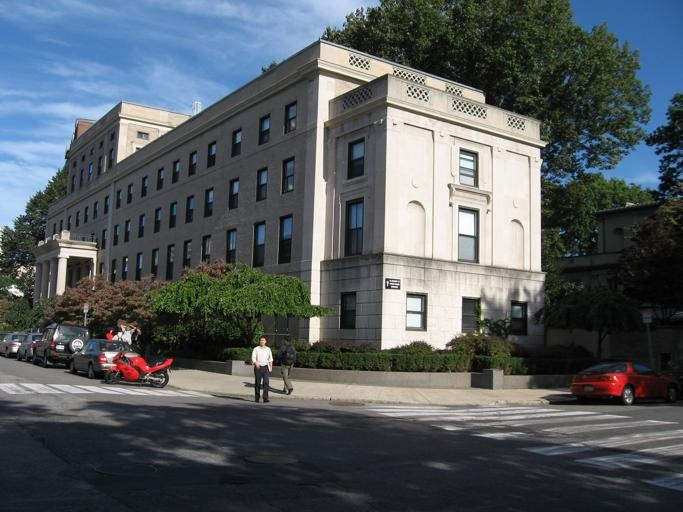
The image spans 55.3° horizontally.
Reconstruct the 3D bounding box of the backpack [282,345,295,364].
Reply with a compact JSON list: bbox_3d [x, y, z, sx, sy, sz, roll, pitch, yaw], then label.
[{"bbox_3d":[-1.922,3.514,23.107,0.580,0.719,0.426,7,-17,-36],"label":"backpack"}]

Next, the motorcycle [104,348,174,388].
[{"bbox_3d":[-7.512,4.226,24.172,2.291,1.175,0.899,1,-5,11],"label":"motorcycle"}]

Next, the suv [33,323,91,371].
[{"bbox_3d":[-14.493,4.685,33.817,2.317,1.998,4.225,5,-6,-29],"label":"suv"}]

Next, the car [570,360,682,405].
[{"bbox_3d":[10.431,4.660,24.010,3.646,1.081,1.699,1,-5,-28],"label":"car"}]
